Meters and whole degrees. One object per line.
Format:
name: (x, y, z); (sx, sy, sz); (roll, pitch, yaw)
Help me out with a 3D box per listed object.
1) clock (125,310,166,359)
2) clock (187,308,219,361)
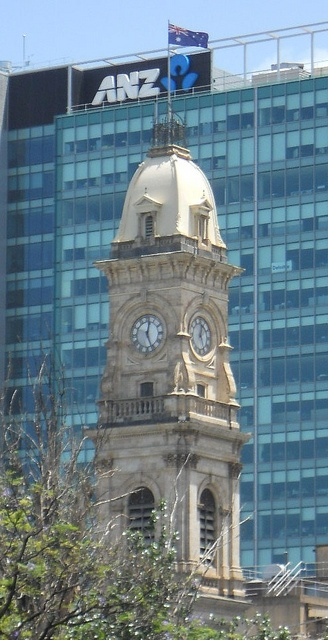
clock: (-0.574, 0.621, 68.010); (0.082, 1.310, 1.112); (22, -44, -34)
clock: (1.406, 0.619, 68.501); (0.060, 1.387, 1.237); (-5, -32, 26)
